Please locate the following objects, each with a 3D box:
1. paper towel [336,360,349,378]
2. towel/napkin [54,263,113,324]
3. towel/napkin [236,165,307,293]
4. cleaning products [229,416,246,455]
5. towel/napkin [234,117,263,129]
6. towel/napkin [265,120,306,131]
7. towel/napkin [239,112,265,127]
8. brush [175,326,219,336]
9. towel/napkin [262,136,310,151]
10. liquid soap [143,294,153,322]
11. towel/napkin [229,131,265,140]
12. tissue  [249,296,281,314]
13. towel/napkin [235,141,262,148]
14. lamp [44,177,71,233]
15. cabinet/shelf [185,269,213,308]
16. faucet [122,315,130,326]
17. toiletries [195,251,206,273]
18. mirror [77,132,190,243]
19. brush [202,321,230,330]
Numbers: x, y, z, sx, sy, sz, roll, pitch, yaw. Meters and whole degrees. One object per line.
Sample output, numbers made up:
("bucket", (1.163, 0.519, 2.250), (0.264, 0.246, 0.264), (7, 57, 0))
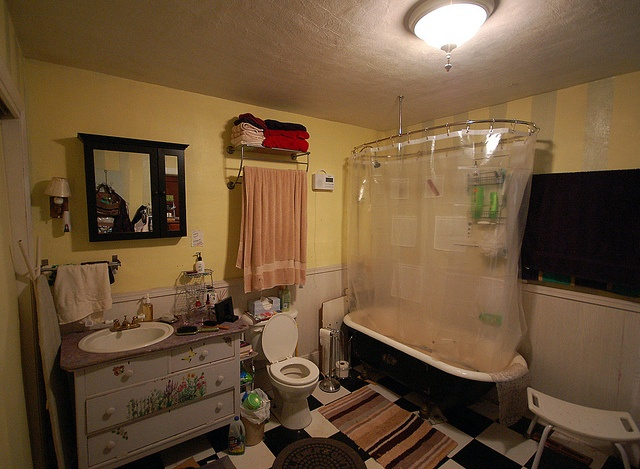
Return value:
("paper towel", (0.239, 1.378, 4.633), (0.150, 0.159, 0.133), (-1, 1, 27))
("towel/napkin", (-1.911, 0.455, 3.568), (0.449, 0.563, 0.075), (-2, 0, -36))
("towel/napkin", (-0.464, -0.050, 4.342), (0.777, 1.204, 0.196), (-8, 9, -34))
("cleaning products", (-0.695, 1.670, 3.746), (0.145, 0.360, 0.112), (-2, 11, -23))
("towel/napkin", (-0.635, -1.021, 4.072), (0.137, 0.060, 0.145), (11, -3, -32))
("towel/napkin", (-0.335, -1.024, 4.249), (0.188, 0.063, 0.194), (15, 20, 29))
("towel/napkin", (-0.609, -1.034, 4.072), (0.141, 0.054, 0.143), (9, 12, -31))
("brush", (-1.026, 0.792, 3.697), (0.218, 0.034, 0.124), (1, -1, -17))
("towel/napkin", (-0.321, -0.851, 4.241), (0.476, 0.149, 0.035), (-8, 9, -31))
("liquid soap", (-1.482, 0.627, 3.848), (0.092, 0.230, 0.070), (-6, 8, -23))
("towel/napkin", (-0.639, -0.895, 4.060), (0.133, 0.049, 0.138), (1, 2, -28))
("tissue ", (-0.519, 0.686, 4.317), (0.264, 0.130, 0.135), (-2, 7, -32))
("towel/napkin", (-0.653, -0.820, 4.079), (0.255, 0.060, 0.159), (-4, 7, -6))
("lamp", (-2.045, -0.224, 3.508), (0.164, 0.438, 0.147), (-8, 9, -33))
("cabinet/shelf", (-1.088, 0.483, 4.062), (0.270, 0.325, 0.149), (-6, 8, -23))
("faucet", (-1.616, 0.715, 3.734), (0.060, 0.100, 0.063), (3, 6, 2))
("toiletries", (-1.092, 0.251, 4.045), (0.087, 0.174, 0.151), (-5, 7, -15))
("mirror", (-1.602, -0.397, 3.735), (0.851, 0.963, 0.134), (-2, 8, -29))
("brush", (-0.896, 0.774, 3.838), (0.154, 0.041, 0.088), (5, 1, 10))
